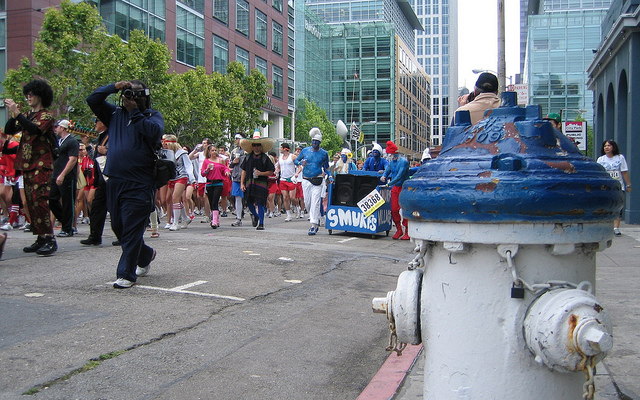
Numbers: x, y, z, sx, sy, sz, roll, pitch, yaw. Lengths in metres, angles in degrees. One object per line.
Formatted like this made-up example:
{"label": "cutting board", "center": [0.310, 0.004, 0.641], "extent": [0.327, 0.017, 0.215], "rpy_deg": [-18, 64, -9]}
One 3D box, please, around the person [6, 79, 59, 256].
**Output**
{"label": "person", "center": [-4.488, -0.516, 8.124], "extent": [0.624, 2.794, 0.814], "rpy_deg": [-2, 8, -27]}

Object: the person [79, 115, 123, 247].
{"label": "person", "center": [-3.742, -0.396, 8.933], "extent": [0.772, 2.320, 0.712], "rpy_deg": [-7, -6, 5]}

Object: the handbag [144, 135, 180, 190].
{"label": "handbag", "center": [-2.173, -0.451, 6.777], "extent": [0.552, 0.508, 0.353], "rpy_deg": [-1, 5, 10]}

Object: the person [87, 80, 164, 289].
{"label": "person", "center": [-2.528, -0.222, 6.688], "extent": [1.091, 2.649, 1.056], "rpy_deg": [3, -1, -26]}

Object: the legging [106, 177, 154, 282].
{"label": "legging", "center": [-2.379, 0.363, 6.499], "extent": [0.511, 1.272, 0.561], "rpy_deg": [-1, 8, -24]}
